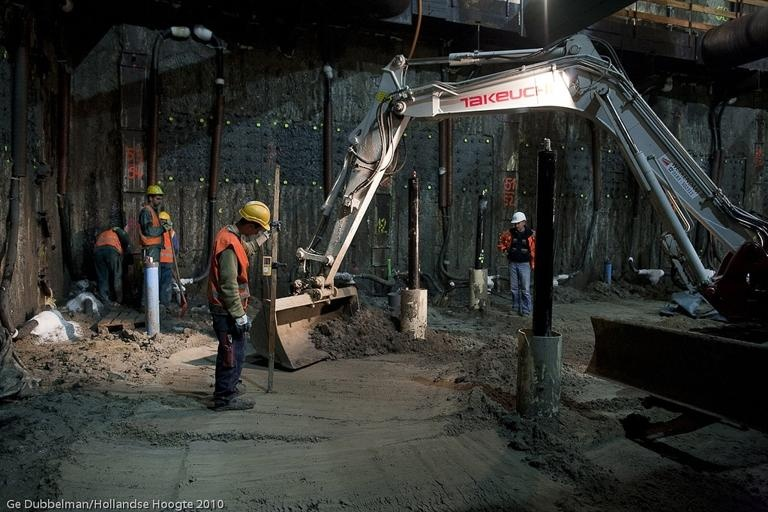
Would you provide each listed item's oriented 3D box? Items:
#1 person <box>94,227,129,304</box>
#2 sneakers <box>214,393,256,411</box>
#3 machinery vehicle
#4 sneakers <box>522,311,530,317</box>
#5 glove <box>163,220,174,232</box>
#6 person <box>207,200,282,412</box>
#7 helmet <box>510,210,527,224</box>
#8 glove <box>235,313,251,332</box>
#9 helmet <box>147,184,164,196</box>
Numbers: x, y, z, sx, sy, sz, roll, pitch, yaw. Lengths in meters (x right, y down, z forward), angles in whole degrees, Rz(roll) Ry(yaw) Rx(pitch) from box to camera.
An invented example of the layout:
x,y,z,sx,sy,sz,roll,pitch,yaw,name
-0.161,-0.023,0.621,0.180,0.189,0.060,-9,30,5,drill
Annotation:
x,y,z,sx,sy,sz,roll,pitch,yaw,name
-5.746,0.182,13.981,0.657,1.566,0.379,-1,3,-25,person
-2.222,2.115,9.888,0.573,0.264,0.255,0,-2,-21,sneakers
1.940,-0.651,13.063,7.229,5.504,2.349,2,0,26,machinery vehicle
3.264,1.302,15.155,0.146,0.138,0.121,-4,4,2,sneakers
-4.585,-0.639,14.099,0.191,0.206,0.161,11,-8,-9,glove
-2.176,0.734,9.763,0.769,3.042,0.597,-1,3,-23,person
3.182,-0.862,15.301,0.314,0.239,0.411,5,3,45,helmet
-2.049,0.970,9.611,0.199,0.276,0.182,-1,3,-16,glove
-4.939,-1.395,14.207,0.258,0.184,0.353,-2,2,-39,helmet
